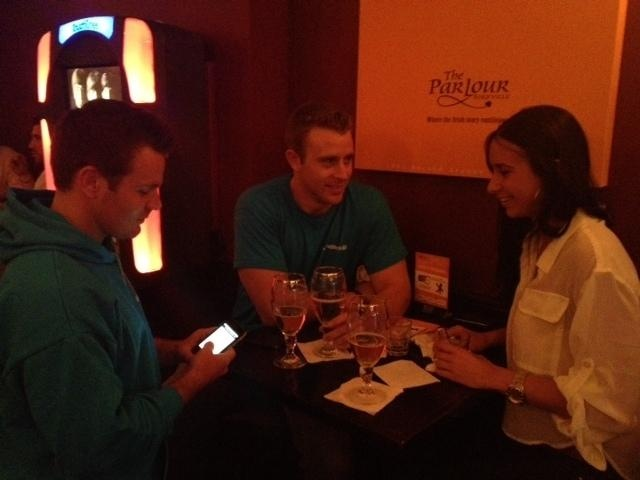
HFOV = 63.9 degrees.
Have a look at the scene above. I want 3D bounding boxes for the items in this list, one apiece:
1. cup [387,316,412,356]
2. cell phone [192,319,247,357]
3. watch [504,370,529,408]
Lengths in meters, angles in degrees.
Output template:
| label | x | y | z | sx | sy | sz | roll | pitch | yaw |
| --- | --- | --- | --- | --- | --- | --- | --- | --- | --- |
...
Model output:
| label | x | y | z | sx | sy | sz | roll | pitch | yaw |
| --- | --- | --- | --- | --- | --- | --- | --- | --- | --- |
| cup | 0.316 | 0.389 | 2.064 | 0.108 | 0.132 | 0.116 | 0 | 1 | 0 |
| cell phone | -0.371 | 0.351 | 1.892 | 0.089 | 0.032 | 0.158 | 30 | 62 | 30 |
| watch | 0.708 | 0.523 | 1.845 | 0.065 | 0.112 | 0.100 | 14 | 22 | 37 |
